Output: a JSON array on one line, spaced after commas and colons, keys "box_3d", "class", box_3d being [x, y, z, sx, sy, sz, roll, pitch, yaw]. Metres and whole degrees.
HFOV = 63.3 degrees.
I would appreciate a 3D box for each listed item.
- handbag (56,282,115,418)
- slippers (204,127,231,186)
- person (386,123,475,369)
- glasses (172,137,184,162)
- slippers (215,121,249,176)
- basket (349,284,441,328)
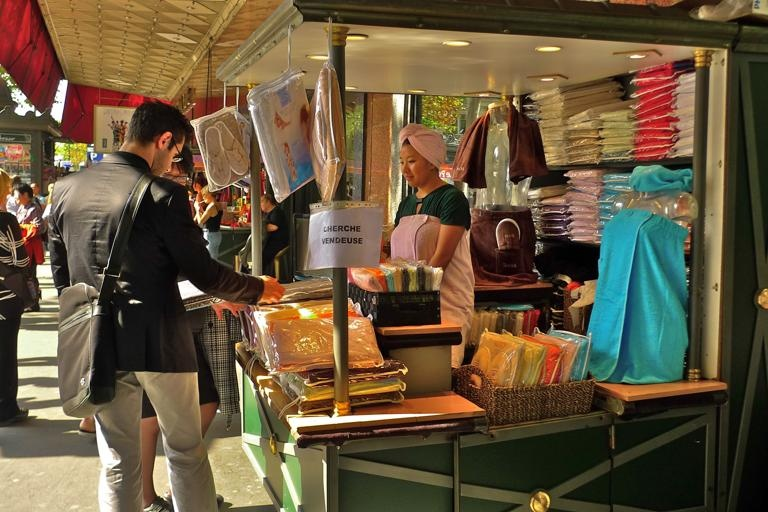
[{"box_3d": [-1.657, 0.511, 3.423, 0.379, 0.757, 0.149, 0, 2, 15], "class": "handbag"}, {"box_3d": [-1.143, -0.672, 4.227, 0.156, 0.386, 0.106, -12, 25, -12], "class": "slippers"}, {"box_3d": [0.305, -0.169, 4.458, 0.589, 1.544, 0.362, 0, 3, 28], "class": "person"}, {"box_3d": [-1.245, -0.635, 3.703, 0.032, 0.115, 0.112, -6, -8, 43], "class": "glasses"}, {"box_3d": [-1.072, -0.762, 4.355, 0.156, 0.364, 0.099, -25, 24, -32], "class": "slippers"}, {"box_3d": [0.069, 0.295, 3.633, 0.485, 0.203, 0.191, -1, 3, 2], "class": "basket"}]
